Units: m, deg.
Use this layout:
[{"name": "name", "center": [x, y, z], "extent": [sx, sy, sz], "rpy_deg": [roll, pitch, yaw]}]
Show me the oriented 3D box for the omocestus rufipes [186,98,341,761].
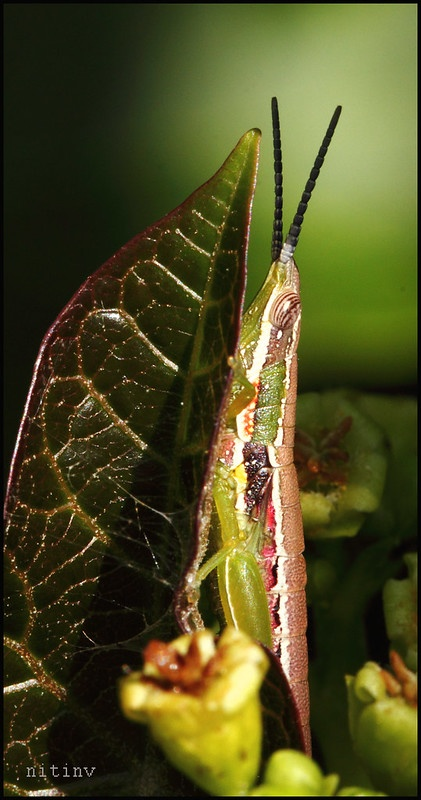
[{"name": "omocestus rufipes", "center": [0.068, 0.021, 0.640], "extent": [0.142, 0.493, 0.164], "rpy_deg": [-1, 2, 2]}]
